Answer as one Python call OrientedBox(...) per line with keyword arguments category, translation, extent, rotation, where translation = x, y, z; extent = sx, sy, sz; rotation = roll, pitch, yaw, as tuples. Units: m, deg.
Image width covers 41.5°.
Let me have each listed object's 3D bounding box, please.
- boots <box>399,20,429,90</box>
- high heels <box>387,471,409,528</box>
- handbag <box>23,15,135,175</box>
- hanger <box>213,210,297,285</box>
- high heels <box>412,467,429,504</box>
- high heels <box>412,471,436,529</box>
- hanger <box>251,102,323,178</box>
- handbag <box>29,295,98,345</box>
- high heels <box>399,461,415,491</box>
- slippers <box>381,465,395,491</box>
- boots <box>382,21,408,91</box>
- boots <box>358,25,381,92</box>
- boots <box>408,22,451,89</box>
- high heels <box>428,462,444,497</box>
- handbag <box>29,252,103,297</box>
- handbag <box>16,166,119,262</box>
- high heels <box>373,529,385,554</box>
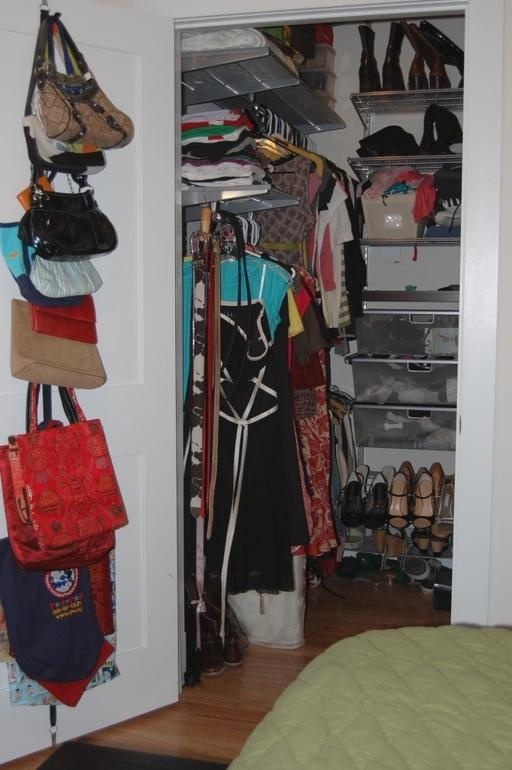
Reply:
OrientedBox(category="boots", translation=(0.663, -1.447, 2.942), extent=(0.113, 0.346, 0.150), rotation=(-3, -28, 11))
OrientedBox(category="high heels", translation=(0.594, 0.490, 2.833), extent=(0.077, 0.250, 0.065), rotation=(-7, -21, 27))
OrientedBox(category="handbag", translation=(-0.437, -0.698, 1.542), extent=(0.208, 0.328, 0.238), rotation=(-5, -1, 25))
OrientedBox(category="hanger", translation=(-0.006, -0.437, 2.135), extent=(0.235, 0.197, 0.274), rotation=(-5, -1, -3))
OrientedBox(category="high heels", translation=(0.707, 0.418, 2.853), extent=(0.049, 0.137, 0.035), rotation=(-7, -34, 24))
OrientedBox(category="high heels", translation=(0.701, 0.477, 2.812), extent=(0.081, 0.243, 0.062), rotation=(-5, -30, 17))
OrientedBox(category="hanger", translation=(0.149, -0.869, 2.447), extent=(0.128, 0.157, 0.539), rotation=(-13, -6, 23))
OrientedBox(category="handbag", translation=(-0.462, -0.152, 1.629), extent=(0.034, 0.114, 0.118), rotation=(-13, -6, 41))
OrientedBox(category="high heels", translation=(0.689, 0.412, 3.068), extent=(0.048, 0.134, 0.039), rotation=(-5, -8, 26))
OrientedBox(category="slippers", translation=(0.628, 0.431, 3.189), extent=(0.038, 0.041, 0.114), rotation=(0, 41, 8))
OrientedBox(category="boots", translation=(0.623, -1.507, 3.065), extent=(0.120, 0.238, 0.343), rotation=(4, 26, 11))
OrientedBox(category="boots", translation=(0.520, -1.517, 3.177), extent=(0.123, 0.290, 0.304), rotation=(-1, 25, 14))
OrientedBox(category="boots", translation=(0.732, -1.418, 2.912), extent=(0.159, 0.318, 0.221), rotation=(-5, -1, 15))
OrientedBox(category="high heels", translation=(0.798, 0.407, 2.982), extent=(0.056, 0.161, 0.047), rotation=(-3, -25, 15))
OrientedBox(category="handbag", translation=(-0.432, -0.251, 1.566), extent=(0.034, 0.088, 0.118), rotation=(-15, -14, 37))
OrientedBox(category="handbag", translation=(-0.445, -0.397, 1.556), extent=(0.091, 0.228, 0.246), rotation=(-2, 9, 34))
OrientedBox(category="high heels", translation=(0.542, 0.687, 2.988), extent=(0.051, 0.107, 0.085), rotation=(-5, -1, 8))
